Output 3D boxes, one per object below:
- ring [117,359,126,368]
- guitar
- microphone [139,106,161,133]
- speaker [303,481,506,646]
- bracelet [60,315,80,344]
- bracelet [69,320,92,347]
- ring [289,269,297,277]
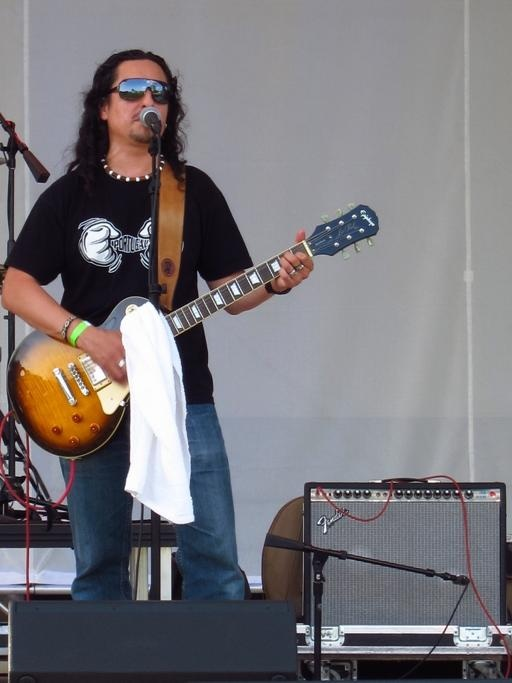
[{"bbox_3d":[-0.376,0.061,3.415,0.020,0.023,0.009,-2,-7,3],"label":"ring"},{"bbox_3d":[-0.194,0.002,4.015,1.149,0.345,0.130,-23,5,-6],"label":"guitar"},{"bbox_3d":[-0.301,-0.628,3.436,0.038,0.045,0.087,-31,39,6],"label":"microphone"},{"bbox_3d":[0.465,0.720,3.799,0.541,0.408,0.190,0,-10,0],"label":"speaker"},{"bbox_3d":[-0.519,-0.038,3.456,0.018,0.060,0.063,17,36,18],"label":"bracelet"},{"bbox_3d":[-0.507,-0.022,3.459,0.051,0.049,0.090,4,-3,-34],"label":"bracelet"},{"bbox_3d":[0.112,-0.198,3.546,0.017,0.011,0.016,-1,21,0],"label":"ring"}]
